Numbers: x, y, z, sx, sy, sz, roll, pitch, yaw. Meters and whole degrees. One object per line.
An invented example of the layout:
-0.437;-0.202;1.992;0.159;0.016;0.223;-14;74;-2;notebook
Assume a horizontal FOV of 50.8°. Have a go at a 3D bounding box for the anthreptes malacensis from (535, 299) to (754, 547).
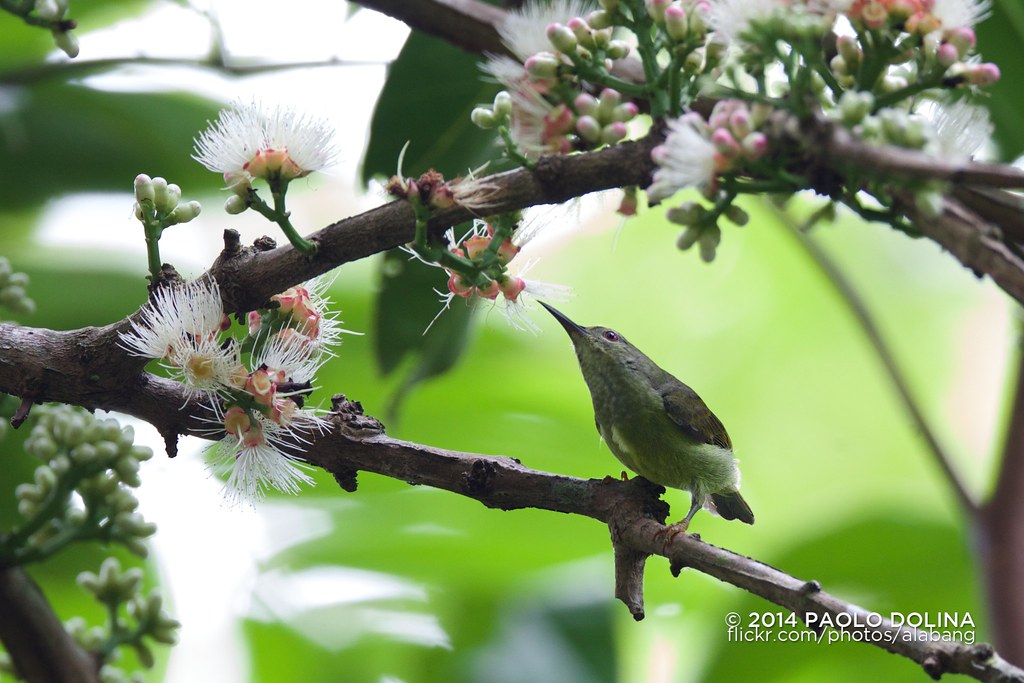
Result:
0.285;0.180;2.057;0.496;0.350;0.240;21;-22;-37;anthreptes malacensis
